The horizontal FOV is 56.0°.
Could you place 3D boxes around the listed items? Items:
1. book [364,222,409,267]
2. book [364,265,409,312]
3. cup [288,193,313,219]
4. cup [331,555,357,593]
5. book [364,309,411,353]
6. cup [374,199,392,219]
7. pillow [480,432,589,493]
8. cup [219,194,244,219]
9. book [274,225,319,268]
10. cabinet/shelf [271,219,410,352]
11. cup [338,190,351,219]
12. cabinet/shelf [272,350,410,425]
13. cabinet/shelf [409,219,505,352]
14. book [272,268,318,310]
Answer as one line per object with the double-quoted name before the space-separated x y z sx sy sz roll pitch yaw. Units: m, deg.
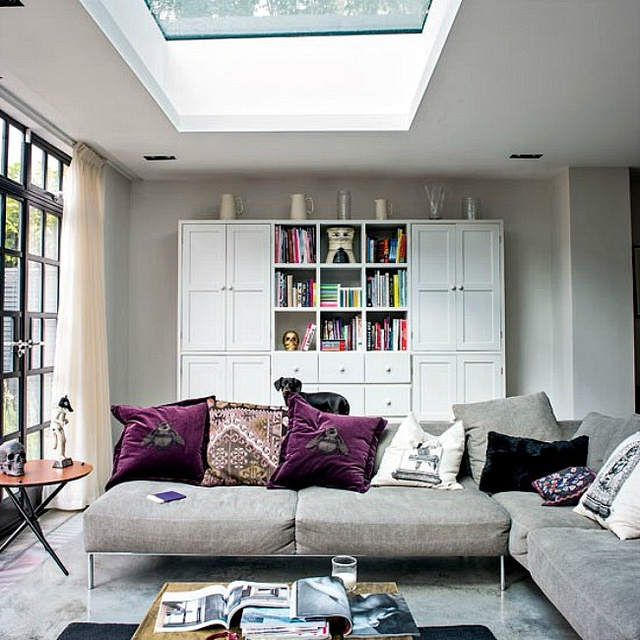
"book" 0.534 -0.569 4.998 0.427 0.394 0.291 0 -8 4
"book" 0.525 -0.242 4.835 0.319 0.279 0.130 -1 4 12
"cup" -0.155 -0.922 4.964 0.203 0.230 0.343 -2 4 -1
"cup" 0.073 0.888 2.128 0.105 0.104 0.103 -1 -4 0
"book" 0.543 0.088 4.925 0.346 0.295 0.350 -1 4 7
"cup" 0.498 -0.891 4.865 0.200 0.181 0.120 1 -2 -12
"pillow" 1.013 0.703 3.003 0.371 0.361 0.107 -2 -43 22
"cup" -0.746 -0.929 4.993 0.184 0.223 0.311 -2 4 0
"book" -0.206 -0.606 4.830 0.331 0.309 0.105 -2 4 -4
"cabinet/shelf" 0.172 -0.278 4.855 1.139 0.984 0.294 1 -4 -4
"cup" 0.192 -0.923 4.861 0.089 0.231 0.063 -3 4 -12
"cabinet/shelf" 0.173 0.514 4.841 1.099 0.569 0.301 0 6 5
"cabinet/shelf" 1.077 -0.257 4.772 0.733 1.028 0.203 -1 4 7
"book" -0.209 -0.260 4.919 0.344 0.313 0.308 -2 4 -4
